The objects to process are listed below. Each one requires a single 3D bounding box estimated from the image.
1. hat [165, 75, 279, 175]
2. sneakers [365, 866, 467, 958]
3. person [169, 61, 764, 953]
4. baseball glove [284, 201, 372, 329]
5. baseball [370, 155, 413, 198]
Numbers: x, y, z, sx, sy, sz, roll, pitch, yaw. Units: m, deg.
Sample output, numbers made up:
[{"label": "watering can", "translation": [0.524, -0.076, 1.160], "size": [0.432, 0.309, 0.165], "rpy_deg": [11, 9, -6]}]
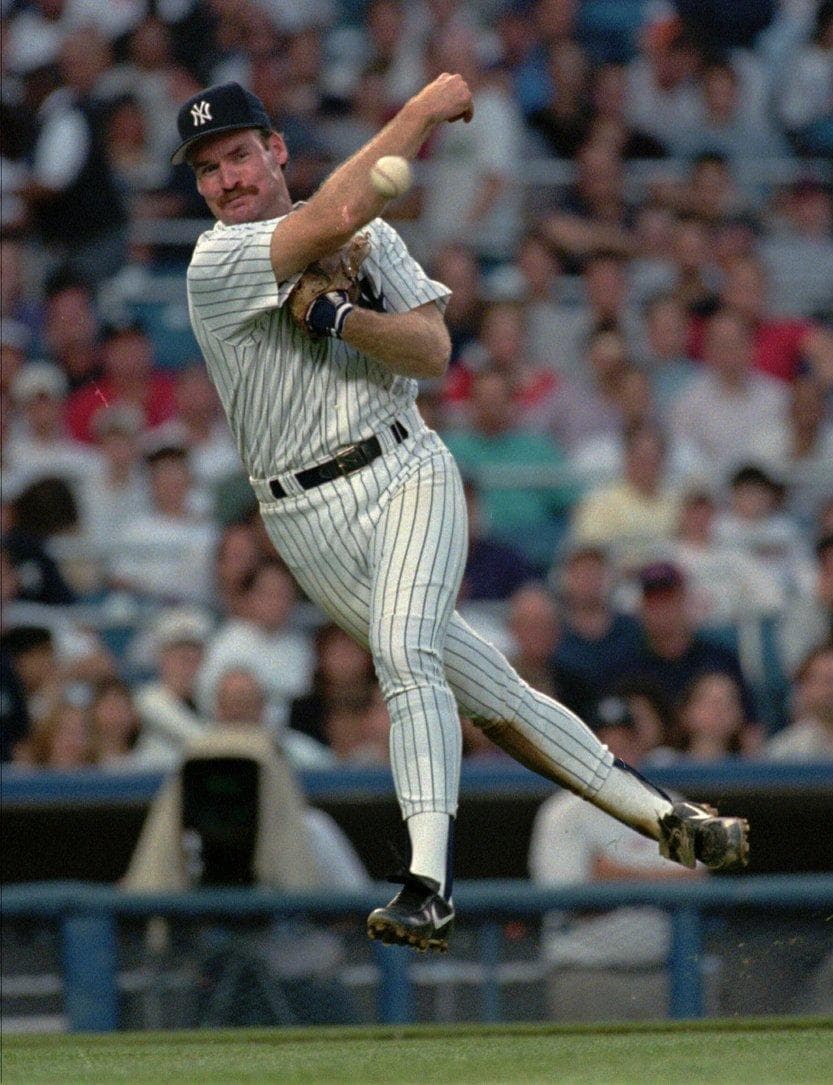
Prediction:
[{"label": "hat", "translation": [-0.430, -0.937, 5.067], "size": [0.159, 0.103, 0.207], "rpy_deg": [-18, 8, 29]}, {"label": "sneakers", "translation": [-0.015, 0.784, 4.786], "size": [0.171, 0.174, 0.179], "rpy_deg": [-3, 8, 2]}, {"label": "person", "translation": [0.000, -0.101, 5.084], "size": [0.811, 1.859, 0.749], "rpy_deg": [-9, 10, -36]}, {"label": "baseball glove", "translation": [-0.181, -0.592, 4.905], "size": [0.122, 0.165, 0.279], "rpy_deg": [10, 56, 44]}, {"label": "baseball", "translation": [-0.056, -0.768, 4.774], "size": [0.083, 0.090, 0.107], "rpy_deg": [-3, 7, 0]}]
